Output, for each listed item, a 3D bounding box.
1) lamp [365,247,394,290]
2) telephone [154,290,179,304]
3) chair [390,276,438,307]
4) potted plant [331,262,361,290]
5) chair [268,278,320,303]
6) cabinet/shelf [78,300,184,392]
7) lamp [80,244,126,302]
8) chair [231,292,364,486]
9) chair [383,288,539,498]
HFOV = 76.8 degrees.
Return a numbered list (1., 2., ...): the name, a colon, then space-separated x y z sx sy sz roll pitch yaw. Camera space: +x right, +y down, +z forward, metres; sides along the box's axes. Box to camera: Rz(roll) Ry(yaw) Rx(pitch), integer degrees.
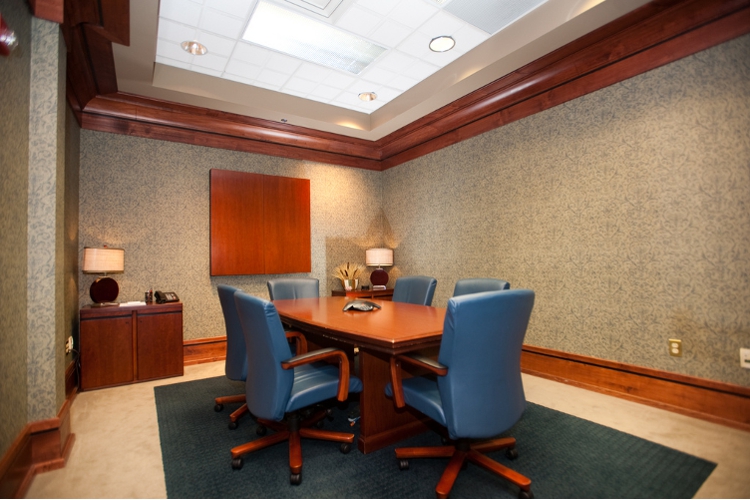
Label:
1. lamp: 0.078 0.278 7.537 0.455 0.665 0.452 -2 1 -2
2. telephone: -2.527 0.575 5.744 0.174 0.082 0.241 -2 5 -43
3. chair: 0.449 0.466 5.345 0.379 0.414 0.352 6 -8 -42
4. potted plant: -0.464 0.410 7.530 0.444 0.401 0.429 0 0 -10
5. chair: -1.030 0.494 5.737 0.364 0.402 0.358 3 -7 -28
6. cabinet/shelf: -2.795 1.113 5.353 1.022 0.864 0.384 2 -5 -31
7. lamp: -3.146 0.287 5.507 0.383 0.579 0.528 -3 1 -27
8. chair: -0.715 1.079 3.967 0.976 1.506 0.771 -2 1 -24
9. chair: 1.053 1.074 4.333 1.505 1.863 1.505 1 -2 -30
